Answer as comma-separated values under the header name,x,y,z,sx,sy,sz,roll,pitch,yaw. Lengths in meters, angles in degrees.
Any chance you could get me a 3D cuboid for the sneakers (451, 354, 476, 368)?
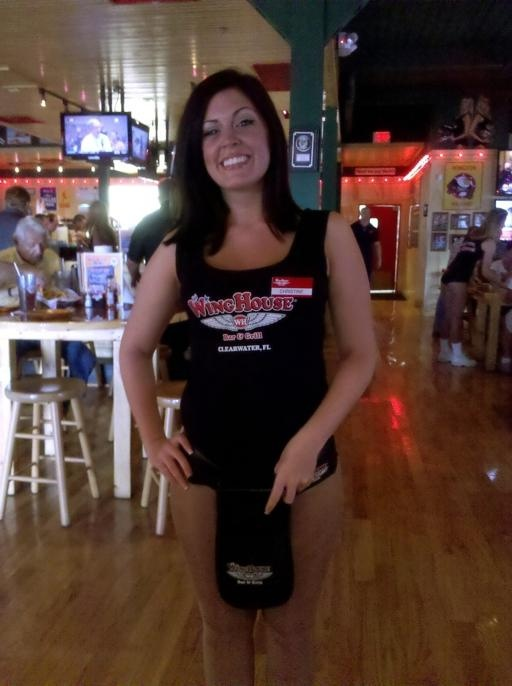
name,x,y,z,sx,sy,sz,roll,pitch,yaw
sneakers,2.337,0.200,6.022,0.254,0.131,0.137,0,8,-3
